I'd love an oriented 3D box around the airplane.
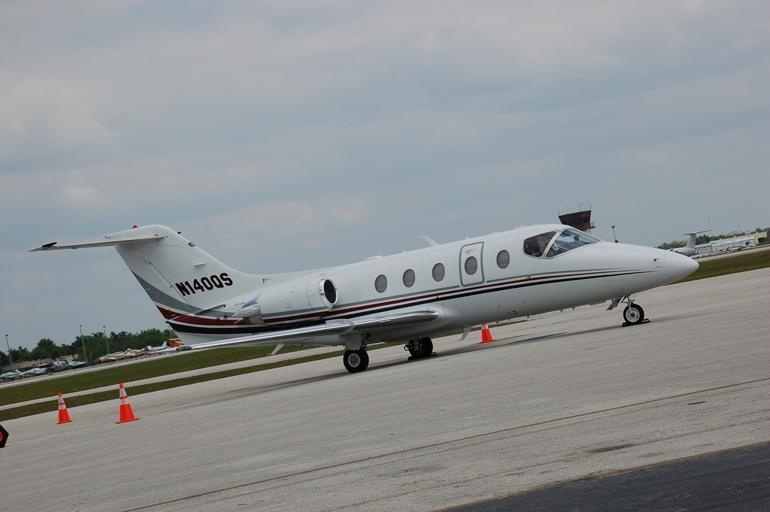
[{"bbox_3d":[-0.245,0.762,25.035,15.855,3.871,2.312,-8,-2,20],"label":"airplane"}]
